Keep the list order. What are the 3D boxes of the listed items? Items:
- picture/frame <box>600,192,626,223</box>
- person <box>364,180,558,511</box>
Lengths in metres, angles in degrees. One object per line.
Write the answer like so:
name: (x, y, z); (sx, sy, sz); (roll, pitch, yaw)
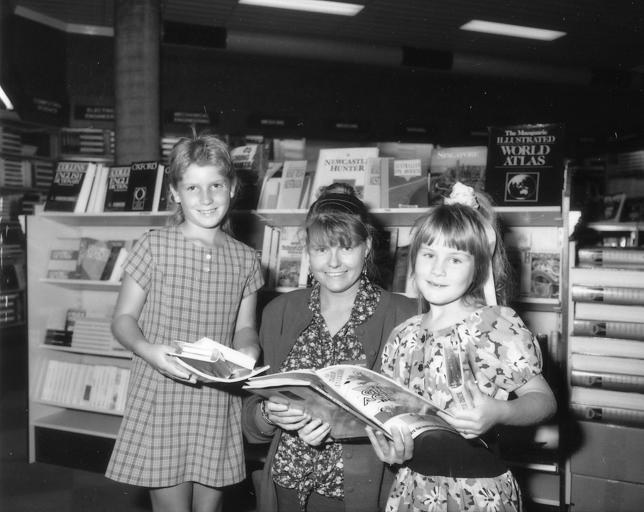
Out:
picture/frame: (2.729, -0.464, 5.001); (0.115, 0.329, 0.242); (12, -5, -28)
person: (0.456, 0.302, 1.781); (0.587, 1.065, 0.453); (3, 1, 5)
